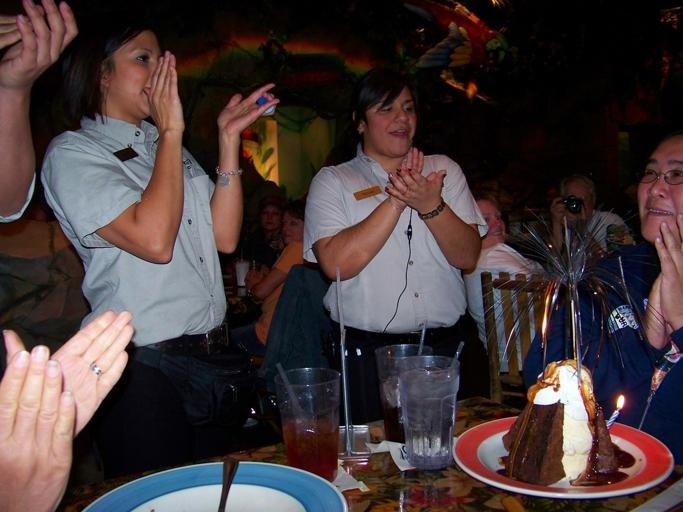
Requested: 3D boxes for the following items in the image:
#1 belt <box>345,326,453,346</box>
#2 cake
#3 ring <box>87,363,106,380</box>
[{"bbox_3d":[0.240,0.294,1.913,0.442,0.067,0.173,-1,0,-2],"label":"belt"},{"bbox_3d":[0.452,0.338,1.159,0.225,0.242,0.244,-5,10,-21],"label":"cake"},{"bbox_3d":[-0.434,0.204,0.928,0.009,0.026,0.020,1,37,45],"label":"ring"}]
